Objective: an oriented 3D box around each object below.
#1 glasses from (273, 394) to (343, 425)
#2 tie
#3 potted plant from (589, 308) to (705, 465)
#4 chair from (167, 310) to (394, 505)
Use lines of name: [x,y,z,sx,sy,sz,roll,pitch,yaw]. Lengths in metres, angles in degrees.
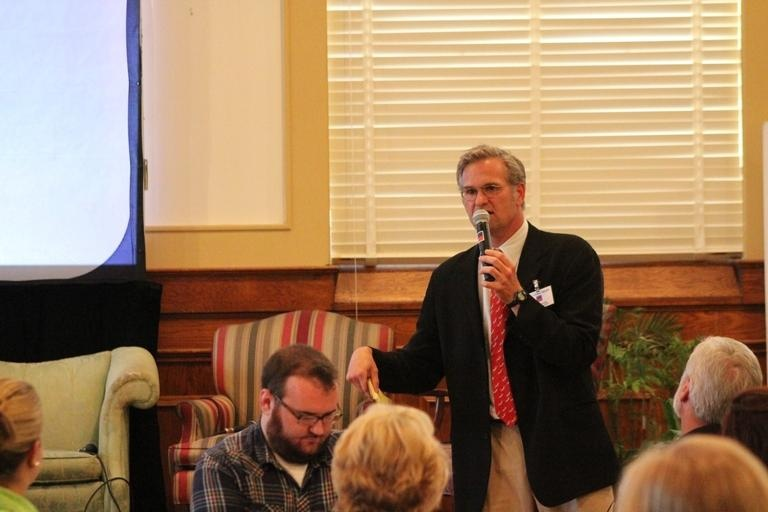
glasses: [-0.337,0.660,3.166,0.254,0.121,0.065,0,0,-13]
tie: [0.544,0.459,3.330,0.065,0.558,0.126,-3,1,-28]
potted plant: [1.645,0.754,4.585,0.800,0.929,0.322,-1,-4,-2]
chair: [-0.536,0.816,4.484,1.202,1.410,1.149,-1,-10,5]
